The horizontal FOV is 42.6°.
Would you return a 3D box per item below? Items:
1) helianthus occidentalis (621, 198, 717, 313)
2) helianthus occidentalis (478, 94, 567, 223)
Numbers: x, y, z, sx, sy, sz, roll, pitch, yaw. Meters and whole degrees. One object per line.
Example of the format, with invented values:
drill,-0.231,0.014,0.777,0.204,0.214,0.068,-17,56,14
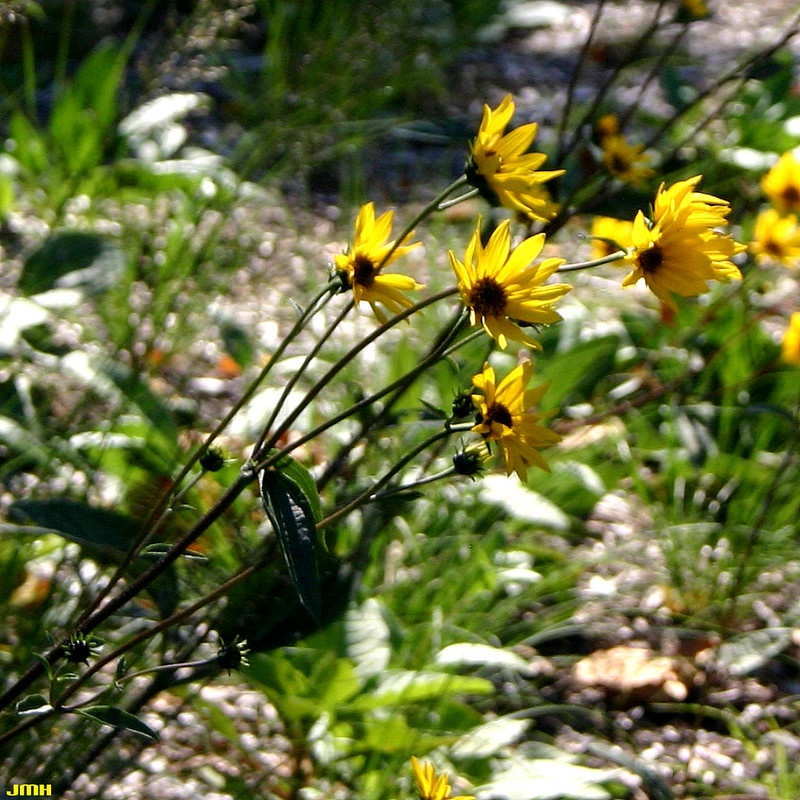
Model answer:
helianthus occidentalis,0.277,-0.171,1.149,0.098,0.108,0.036,65,0,-74
helianthus occidentalis,0.131,-0.271,1.159,0.046,0.103,0.096,-43,59,-13
